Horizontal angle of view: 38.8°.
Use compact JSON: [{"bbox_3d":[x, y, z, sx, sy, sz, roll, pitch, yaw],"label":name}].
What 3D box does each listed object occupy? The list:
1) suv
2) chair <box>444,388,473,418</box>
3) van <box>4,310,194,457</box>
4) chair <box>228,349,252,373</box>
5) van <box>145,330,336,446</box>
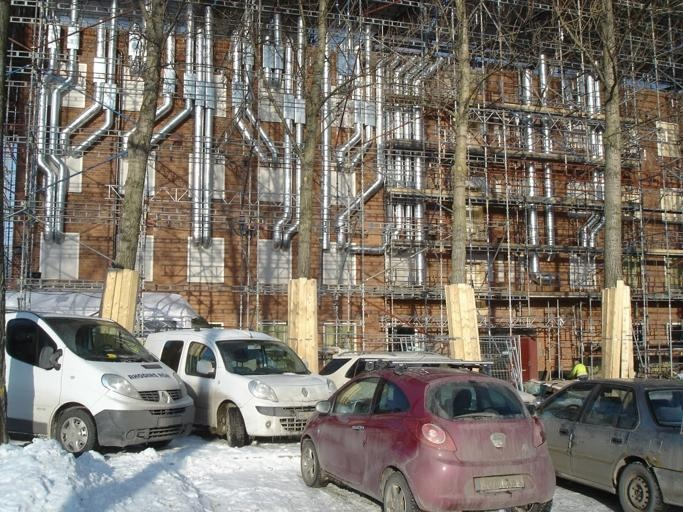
[{"bbox_3d":[1.555,2.577,19.471,1.656,0.927,2.836,1,-3,-26],"label":"suv"},{"bbox_3d":[2.096,2.614,17.300,0.359,0.500,0.480,2,-5,-5],"label":"chair"},{"bbox_3d":[-5.202,2.586,20.166,3.704,2.782,1.312,2,-6,4],"label":"van"},{"bbox_3d":[-2.275,2.371,21.668,0.408,0.499,0.427,2,-11,-11],"label":"chair"},{"bbox_3d":[-2.318,2.864,22.084,2.183,1.932,3.776,7,-12,-38],"label":"van"}]
